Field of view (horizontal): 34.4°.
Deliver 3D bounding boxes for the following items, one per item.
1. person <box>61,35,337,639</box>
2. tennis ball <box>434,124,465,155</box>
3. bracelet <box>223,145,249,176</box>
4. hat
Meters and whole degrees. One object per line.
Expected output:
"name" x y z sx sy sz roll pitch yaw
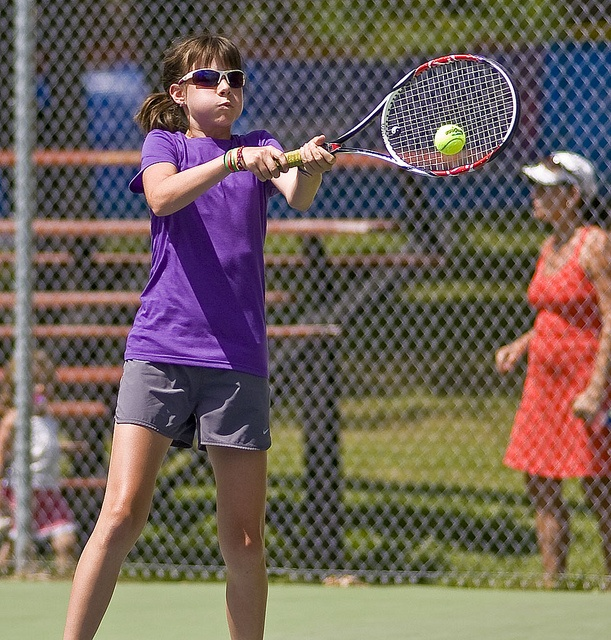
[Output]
"person" -0.295 0.028 2.639 0.671 1.643 0.485 1 5 -13
"tennis ball" 0.439 -0.553 2.997 0.097 0.100 0.139 2 4 9
"bracelet" -0.179 -0.399 2.456 0.057 0.058 0.031 29 -19 -32
"hat" 1.096 -0.610 4.218 0.300 0.114 0.189 15 4 3
